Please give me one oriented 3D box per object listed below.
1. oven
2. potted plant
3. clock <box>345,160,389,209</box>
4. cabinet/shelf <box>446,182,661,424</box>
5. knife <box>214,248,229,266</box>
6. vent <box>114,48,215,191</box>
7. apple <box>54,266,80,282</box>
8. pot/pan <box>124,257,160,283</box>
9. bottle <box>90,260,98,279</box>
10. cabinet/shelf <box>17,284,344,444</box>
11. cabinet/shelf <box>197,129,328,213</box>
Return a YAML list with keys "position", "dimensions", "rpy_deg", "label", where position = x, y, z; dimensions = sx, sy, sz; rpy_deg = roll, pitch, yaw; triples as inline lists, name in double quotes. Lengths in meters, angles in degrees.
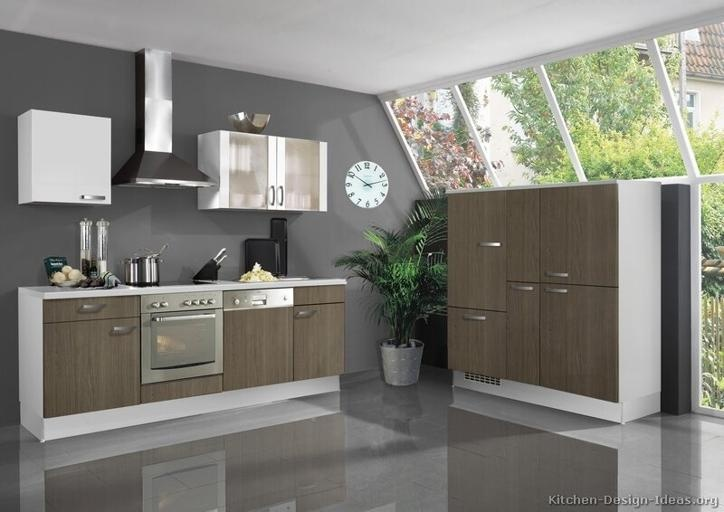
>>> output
- position: [-1.799, 0.732, 5.237]
  dimensions: [0.804, 0.824, 0.568]
  rpy_deg: [1, -3, -35]
  label: "oven"
- position: [0.420, 0.318, 6.680]
  dimensions: [1.212, 2.244, 1.286]
  rpy_deg: [0, 3, 7]
  label: "potted plant"
- position: [0.036, -0.910, 7.025]
  dimensions: [0.708, 0.663, 0.062]
  rpy_deg: [0, 0, -29]
  label: "clock"
- position: [1.910, 0.469, 5.252]
  dimensions: [0.853, 2.330, 2.280]
  rpy_deg: [3, -4, -42]
  label: "cabinet/shelf"
- position: [-1.451, 0.019, 5.688]
  dimensions: [0.060, 0.218, 0.128]
  rpy_deg: [22, 27, -44]
  label: "knife"
- position: [-1.984, -1.341, 5.387]
  dimensions: [0.951, 1.274, 0.769]
  rpy_deg: [-2, 14, -26]
  label: "vent"
- position: [-2.665, 0.168, 4.937]
  dimensions: [0.165, 0.089, 0.168]
  rpy_deg: [1, -2, -11]
  label: "apple"
- position: [-2.032, 0.146, 5.067]
  dimensions: [0.298, 0.255, 0.258]
  rpy_deg: [0, -1, -12]
  label: "pot/pan"
- position: [-2.506, 0.114, 5.105]
  dimensions: [0.073, 0.151, 0.127]
  rpy_deg: [-2, 3, -26]
  label: "bottle"
- position: [-1.573, 0.892, 5.148]
  dimensions: [2.745, 1.278, 0.410]
  rpy_deg: [-2, 3, -25]
  label: "cabinet/shelf"
- position: [-1.036, -0.885, 5.921]
  dimensions: [1.294, 0.786, 0.380]
  rpy_deg: [-2, 4, -32]
  label: "cabinet/shelf"
